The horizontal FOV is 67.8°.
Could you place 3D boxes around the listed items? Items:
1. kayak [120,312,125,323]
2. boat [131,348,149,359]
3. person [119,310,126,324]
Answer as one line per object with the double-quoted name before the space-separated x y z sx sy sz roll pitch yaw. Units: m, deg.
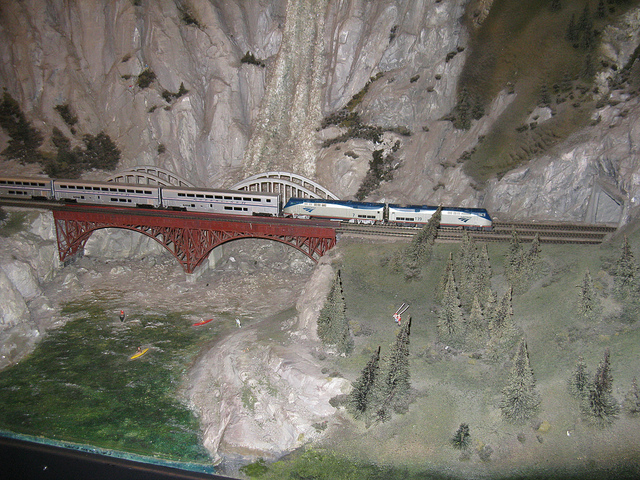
"kayak" -31.962 12.517 76.249 0.476 1.349 0.950 0 -13 -3
"boat" -26.469 16.633 69.705 0.652 0.377 2.206 31 40 34
"person" -32.001 12.255 76.573 0.736 2.004 0.897 5 -10 -5
